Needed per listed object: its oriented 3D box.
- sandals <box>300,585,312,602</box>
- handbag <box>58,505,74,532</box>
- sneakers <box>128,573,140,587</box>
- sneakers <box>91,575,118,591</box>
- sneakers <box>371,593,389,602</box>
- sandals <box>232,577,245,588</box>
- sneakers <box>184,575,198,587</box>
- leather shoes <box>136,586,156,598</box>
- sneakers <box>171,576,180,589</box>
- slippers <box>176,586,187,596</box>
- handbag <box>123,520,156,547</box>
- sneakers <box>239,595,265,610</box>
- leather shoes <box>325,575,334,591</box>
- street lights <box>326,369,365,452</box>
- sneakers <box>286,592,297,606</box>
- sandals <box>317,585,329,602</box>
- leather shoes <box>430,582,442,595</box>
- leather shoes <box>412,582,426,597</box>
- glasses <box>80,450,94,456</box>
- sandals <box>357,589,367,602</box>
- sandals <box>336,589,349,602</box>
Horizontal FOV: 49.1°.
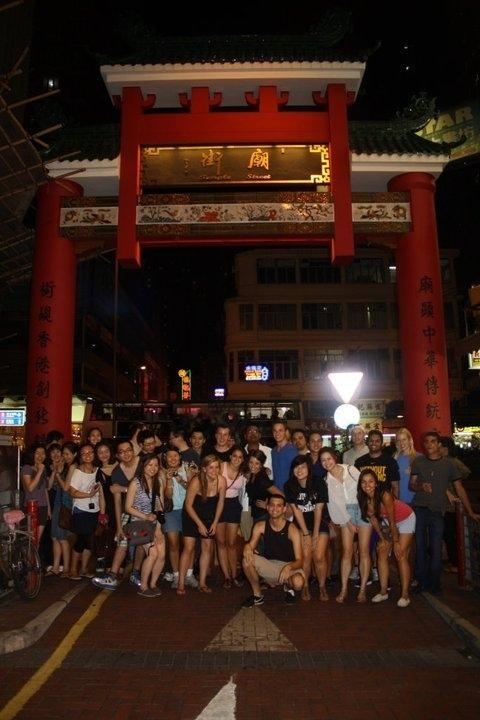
[{"bbox_3d":[0.881,2.977,6.683,0.106,0.226,0.229,-1,-28,4],"label":"sandals"},{"bbox_3d":[-2.456,2.240,7.392,0.185,0.335,0.234,4,-11,-21],"label":"handbag"},{"bbox_3d":[-1.438,3.011,7.206,0.090,0.194,0.267,15,-27,-40],"label":"sneakers"},{"bbox_3d":[-1.808,2.896,6.907,0.375,0.176,0.151,10,-31,7],"label":"sneakers"},{"bbox_3d":[1.753,2.925,6.493,0.218,0.081,0.089,6,-28,-31],"label":"sneakers"},{"bbox_3d":[-0.032,3.065,7.271,0.172,0.104,0.356,0,-10,3],"label":"sandals"},{"bbox_3d":[-0.651,3.018,7.175,0.157,0.129,0.256,1,-10,-6],"label":"sneakers"},{"bbox_3d":[-1.186,2.970,6.729,0.196,0.075,0.110,-6,-15,34],"label":"leather shoes"},{"bbox_3d":[-0.890,3.065,7.238,0.113,0.164,0.055,2,-46,0],"label":"sneakers"},{"bbox_3d":[-0.753,3.013,6.849,0.066,0.114,0.203,5,-26,-9],"label":"slippers"},{"bbox_3d":[-1.242,2.150,6.603,0.439,0.418,0.279,1,-16,-8],"label":"handbag"},{"bbox_3d":[0.157,2.898,6.271,0.284,0.124,0.098,11,-20,-28],"label":"sneakers"},{"bbox_3d":[1.274,3.094,7.348,0.109,0.105,0.379,-1,-10,9],"label":"leather shoes"},{"bbox_3d":[2.500,0.995,12.178,0.919,1.451,0.669,-7,13,-15],"label":"street lights"},{"bbox_3d":[0.634,2.889,6.406,0.142,0.134,0.104,3,-10,-14],"label":"sneakers"},{"bbox_3d":[1.058,2.964,6.614,0.093,0.173,0.178,-1,-36,4],"label":"sandals"},{"bbox_3d":[2.507,2.914,6.679,0.140,0.118,0.127,1,-10,-3],"label":"leather shoes"},{"bbox_3d":[2.300,2.945,6.755,0.176,0.138,0.193,2,-10,-12],"label":"leather shoes"},{"bbox_3d":[-2.202,1.335,7.518,0.174,0.128,0.145,2,-10,-8],"label":"glasses"},{"bbox_3d":[1.520,2.927,6.529,0.095,0.094,0.235,-3,-16,13],"label":"sandals"},{"bbox_3d":[1.275,2.954,6.542,0.084,0.151,0.225,-1,-31,18],"label":"sandals"}]
